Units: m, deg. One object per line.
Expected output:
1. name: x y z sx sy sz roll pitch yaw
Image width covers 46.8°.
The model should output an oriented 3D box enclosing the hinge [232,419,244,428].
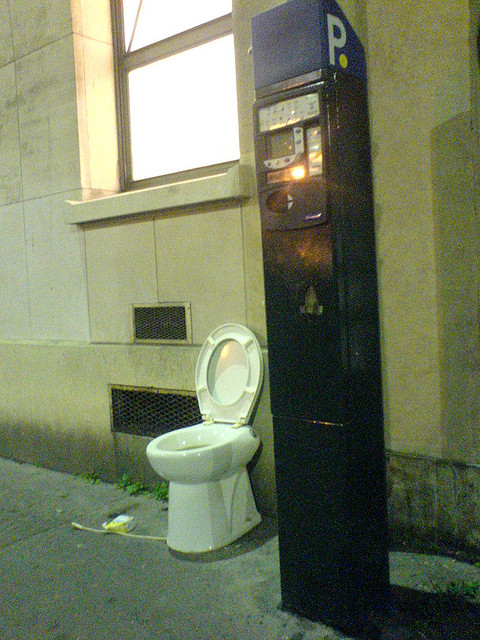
1. hinge: -0.013 0.477 2.543 0.024 0.031 0.049 0 -3 23

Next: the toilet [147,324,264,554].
1. toilet: -0.165 0.518 2.520 0.557 0.957 0.399 -5 4 -40

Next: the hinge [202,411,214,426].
1. hinge: -0.157 0.479 2.678 0.040 0.078 0.052 -3 -10 24

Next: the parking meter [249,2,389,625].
1. parking meter: 0.268 -0.014 1.883 0.411 2.032 0.374 -2 2 14
